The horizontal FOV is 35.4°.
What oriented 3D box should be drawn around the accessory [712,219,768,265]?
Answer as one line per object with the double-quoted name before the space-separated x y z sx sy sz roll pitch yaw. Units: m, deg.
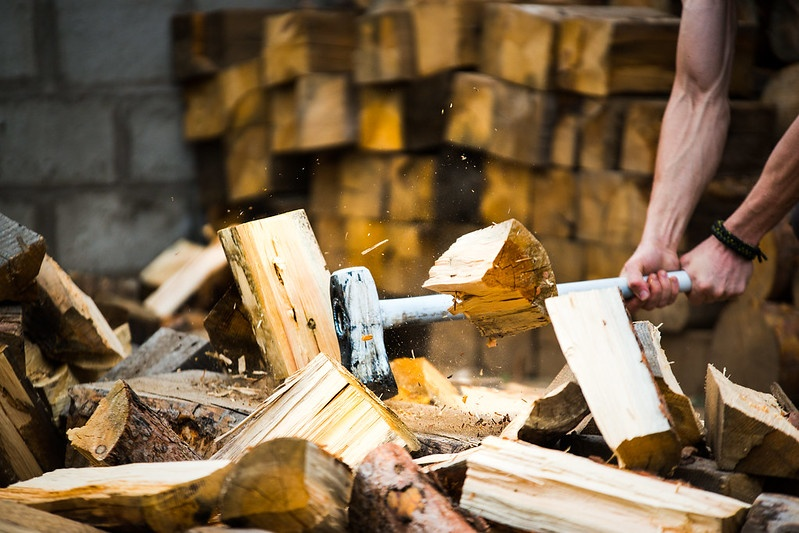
"accessory" 1.541 -0.112 5.686 0.222 0.060 0.171 47 45 9
